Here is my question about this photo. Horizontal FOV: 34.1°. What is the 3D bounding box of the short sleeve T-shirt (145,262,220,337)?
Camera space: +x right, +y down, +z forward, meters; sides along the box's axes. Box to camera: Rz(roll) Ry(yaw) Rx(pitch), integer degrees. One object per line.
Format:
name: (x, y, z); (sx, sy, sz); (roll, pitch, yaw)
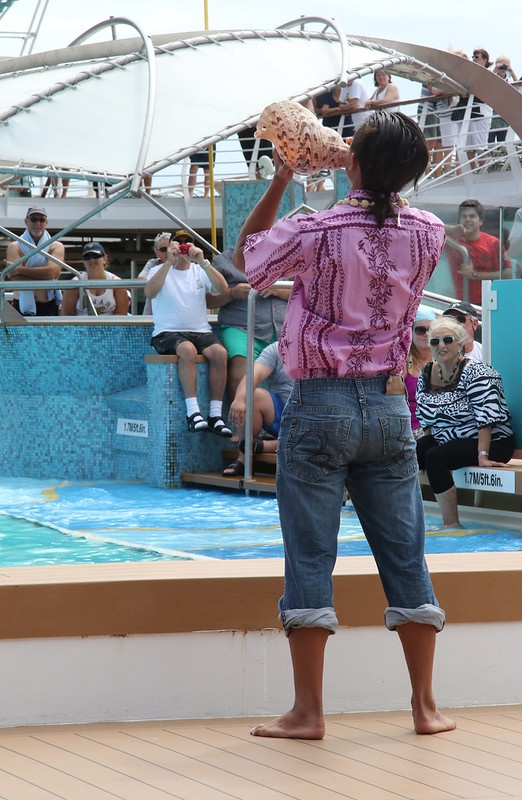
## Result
short sleeve T-shirt: (-0.657, -0.853, 7.258); (0.823, 0.693, 0.420); (1, -4, -11)

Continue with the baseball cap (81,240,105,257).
baseball cap: (-1.655, -1.478, 8.415); (0.199, 0.140, 0.278); (-1, -8, 3)

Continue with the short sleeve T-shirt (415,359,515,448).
short sleeve T-shirt: (1.297, -0.007, 5.474); (0.522, 0.550, 0.771); (-6, -2, -26)

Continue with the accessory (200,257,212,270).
accessory: (-0.494, -1.148, 7.261); (0.129, 0.077, 0.128); (0, 18, 11)

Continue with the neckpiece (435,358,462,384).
neckpiece: (1.191, -0.172, 5.386); (0.122, 0.138, 0.043); (3, 11, 37)

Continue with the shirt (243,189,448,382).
shirt: (0.199, -0.269, 2.049); (0.484, 0.448, 0.239); (0, 1, 6)

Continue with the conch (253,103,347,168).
conch: (0.099, -0.634, 2.168); (0.253, 0.134, 0.114); (16, -22, -4)

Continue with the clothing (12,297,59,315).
clothing: (-2.318, -0.964, 8.838); (0.359, 0.215, 0.190); (-1, -4, -13)

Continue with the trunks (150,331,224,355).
trunks: (-0.637, -0.475, 7.158); (0.408, 0.137, 0.245); (5, -26, -5)

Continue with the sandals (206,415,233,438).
sandals: (-0.328, 0.216, 6.842); (0.118, 0.101, 0.265); (0, 6, -37)
